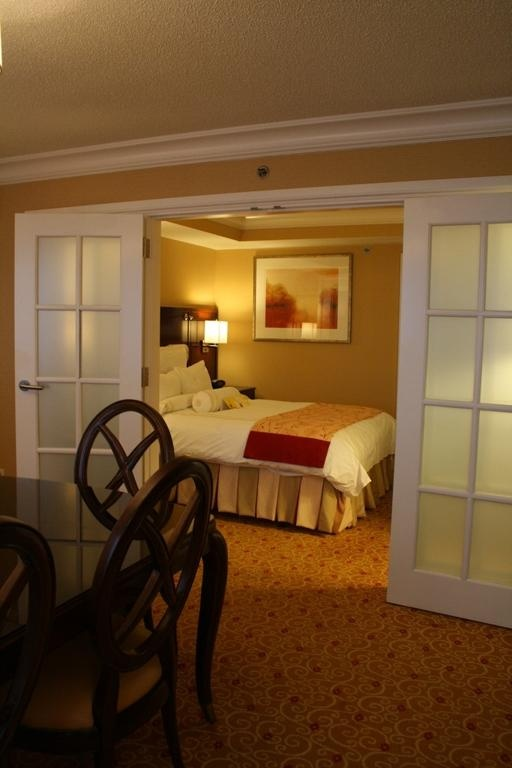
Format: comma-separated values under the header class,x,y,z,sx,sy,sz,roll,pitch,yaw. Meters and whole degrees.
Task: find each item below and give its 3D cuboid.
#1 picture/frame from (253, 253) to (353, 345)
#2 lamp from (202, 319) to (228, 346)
class,x,y,z,sx,sy,sz,roll,pitch,yaw
picture/frame,0.650,-1.100,6.691,1.098,1.008,0.044,2,5,22
lamp,-0.513,-0.566,6.774,0.246,0.427,0.470,-1,1,14
